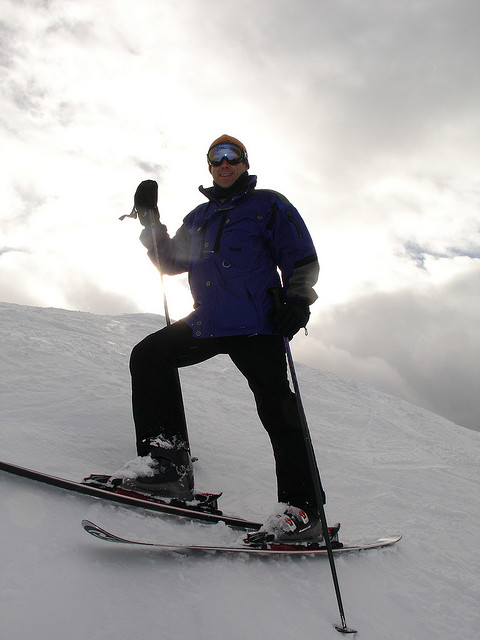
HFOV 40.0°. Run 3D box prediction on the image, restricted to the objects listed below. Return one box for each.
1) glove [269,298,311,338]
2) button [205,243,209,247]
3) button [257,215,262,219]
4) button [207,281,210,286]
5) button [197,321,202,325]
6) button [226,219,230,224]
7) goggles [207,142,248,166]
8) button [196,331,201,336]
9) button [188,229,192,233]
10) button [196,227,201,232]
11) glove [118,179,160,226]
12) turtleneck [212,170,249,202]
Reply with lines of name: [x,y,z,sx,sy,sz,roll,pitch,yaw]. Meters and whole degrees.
glove: [0.295,-0.018,3.866,0.205,0.225,0.109,2,8,11]
button: [-0.216,-0.480,4.227,0.007,0.023,0.042,12,2,-37]
button: [0.122,-0.647,4.139,0.029,0.023,0.015,12,3,2]
button: [-0.202,-0.231,4.151,0.022,0.020,0.005,5,4,44]
button: [-0.257,0.018,4.110,0.024,0.021,0.007,-5,-21,12]
button: [-0.081,-0.625,4.188,0.016,0.027,0.022,12,3,-19]
goggles: [-0.085,-1.130,4.510,0.264,0.154,0.134,11,3,-7]
button: [-0.260,0.081,4.089,0.036,0.030,0.009,-1,-2,10]
button: [-0.353,-0.622,4.582,0.007,0.023,0.027,-1,1,-29]
button: [-0.279,-0.601,4.392,0.012,0.027,0.065,13,2,-18]
glove: [-0.689,-0.844,4.742,0.189,0.290,0.095,14,3,8]
turtleneck: [-0.073,-0.887,4.444,0.175,0.198,0.287,11,3,-20]
